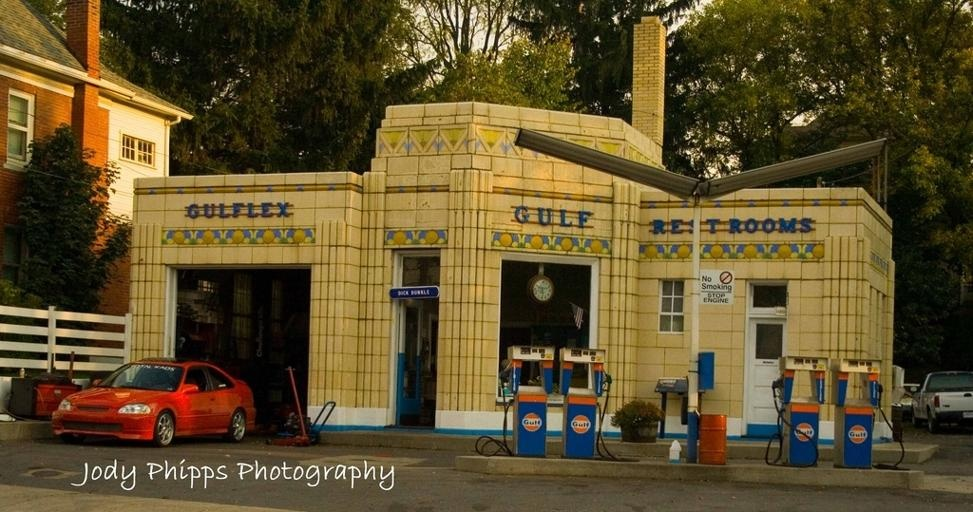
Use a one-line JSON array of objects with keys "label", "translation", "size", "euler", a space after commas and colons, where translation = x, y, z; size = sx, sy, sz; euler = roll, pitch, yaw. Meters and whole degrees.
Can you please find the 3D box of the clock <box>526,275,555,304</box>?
[{"label": "clock", "translation": [2.203, 1.304, 58.018], "size": [1.111, 1.167, 0.453], "euler": [-2, -3, -17]}]
